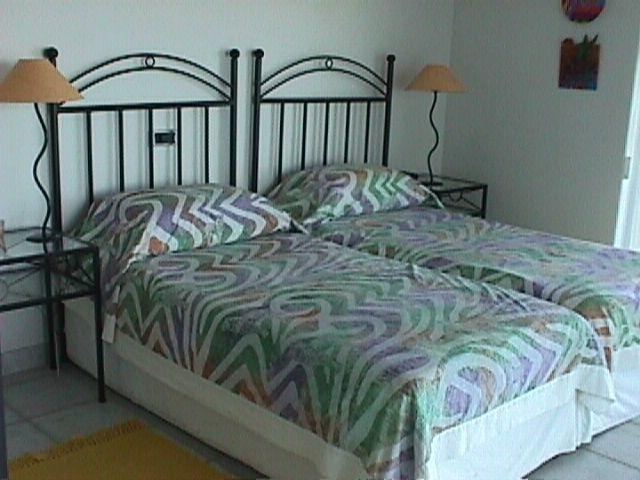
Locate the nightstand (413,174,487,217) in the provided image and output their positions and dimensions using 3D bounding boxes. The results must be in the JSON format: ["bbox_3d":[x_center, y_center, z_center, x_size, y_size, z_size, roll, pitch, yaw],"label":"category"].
[{"bbox_3d":[1.025,-0.351,4.558,0.402,0.419,0.411,-12,24,-41],"label":"nightstand"}]
